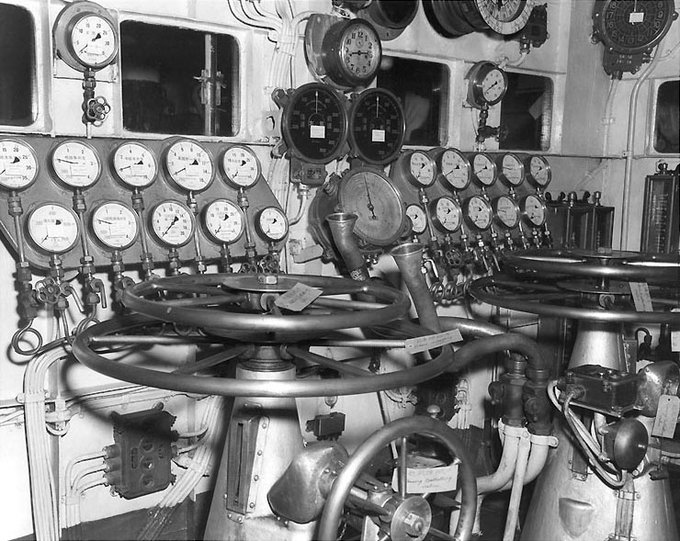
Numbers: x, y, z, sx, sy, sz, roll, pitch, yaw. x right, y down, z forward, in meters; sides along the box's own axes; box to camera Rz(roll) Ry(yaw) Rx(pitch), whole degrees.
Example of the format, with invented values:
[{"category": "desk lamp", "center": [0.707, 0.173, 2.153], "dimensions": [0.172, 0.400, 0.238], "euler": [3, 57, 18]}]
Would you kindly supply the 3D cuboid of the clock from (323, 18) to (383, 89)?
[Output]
[{"category": "clock", "center": [0.083, -1.233, 4.419], "dimensions": [0.330, 0.370, 0.113], "euler": [-10, 15, -35]}]
